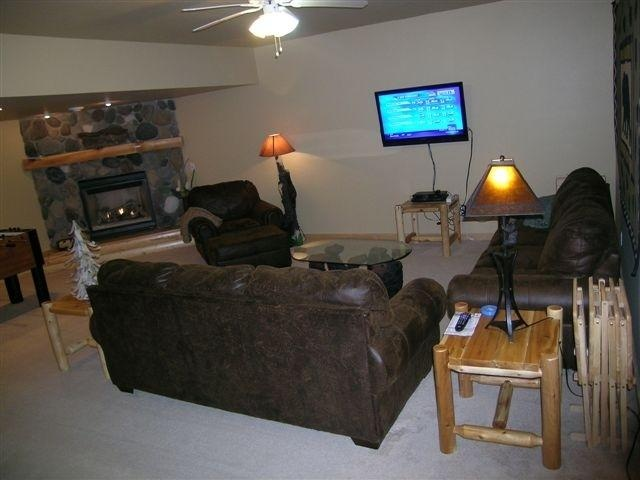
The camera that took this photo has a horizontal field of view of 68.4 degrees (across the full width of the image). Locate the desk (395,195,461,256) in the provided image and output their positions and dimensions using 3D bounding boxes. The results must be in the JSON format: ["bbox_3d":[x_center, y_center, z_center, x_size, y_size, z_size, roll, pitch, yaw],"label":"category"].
[{"bbox_3d":[1.460,-0.257,6.294,0.798,0.776,0.849,3,15,23],"label":"desk"}]

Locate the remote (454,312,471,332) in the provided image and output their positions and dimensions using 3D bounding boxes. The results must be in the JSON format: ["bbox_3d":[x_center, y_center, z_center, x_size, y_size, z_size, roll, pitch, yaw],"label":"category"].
[{"bbox_3d":[0.940,0.532,3.099,0.056,0.034,0.209,2,17,28],"label":"remote"}]

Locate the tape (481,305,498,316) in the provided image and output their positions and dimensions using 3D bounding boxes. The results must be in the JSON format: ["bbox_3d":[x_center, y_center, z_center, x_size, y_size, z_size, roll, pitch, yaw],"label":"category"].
[{"bbox_3d":[1.128,0.466,3.159,0.071,0.018,0.073,-4,19,7],"label":"tape"}]

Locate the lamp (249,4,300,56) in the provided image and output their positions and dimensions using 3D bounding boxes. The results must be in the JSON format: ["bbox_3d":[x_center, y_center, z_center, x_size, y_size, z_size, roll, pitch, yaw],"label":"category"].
[{"bbox_3d":[-0.351,-1.621,3.441,0.297,0.186,0.267,8,19,40],"label":"lamp"}]

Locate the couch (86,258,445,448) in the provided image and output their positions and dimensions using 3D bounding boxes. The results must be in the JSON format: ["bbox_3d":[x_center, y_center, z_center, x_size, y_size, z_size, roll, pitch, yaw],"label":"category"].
[{"bbox_3d":[-0.436,0.713,3.421,2.287,1.164,0.640,0,15,20],"label":"couch"}]

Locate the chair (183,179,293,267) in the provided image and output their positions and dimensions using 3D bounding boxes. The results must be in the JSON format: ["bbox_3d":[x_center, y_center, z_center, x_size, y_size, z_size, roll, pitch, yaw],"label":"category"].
[{"bbox_3d":[-1.146,-0.218,6.465,1.270,0.990,1.535,-10,16,-19],"label":"chair"}]

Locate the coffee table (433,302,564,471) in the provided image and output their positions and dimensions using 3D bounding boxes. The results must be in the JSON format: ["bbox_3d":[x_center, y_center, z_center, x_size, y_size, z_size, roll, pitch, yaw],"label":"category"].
[{"bbox_3d":[1.126,0.962,3.176,0.858,0.897,0.867,2,24,25],"label":"coffee table"}]

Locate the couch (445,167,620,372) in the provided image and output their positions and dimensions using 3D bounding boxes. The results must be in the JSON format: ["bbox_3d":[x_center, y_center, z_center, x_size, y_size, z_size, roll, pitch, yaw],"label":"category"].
[{"bbox_3d":[1.591,0.207,3.428,0.652,0.687,1.734,3,32,27],"label":"couch"}]
